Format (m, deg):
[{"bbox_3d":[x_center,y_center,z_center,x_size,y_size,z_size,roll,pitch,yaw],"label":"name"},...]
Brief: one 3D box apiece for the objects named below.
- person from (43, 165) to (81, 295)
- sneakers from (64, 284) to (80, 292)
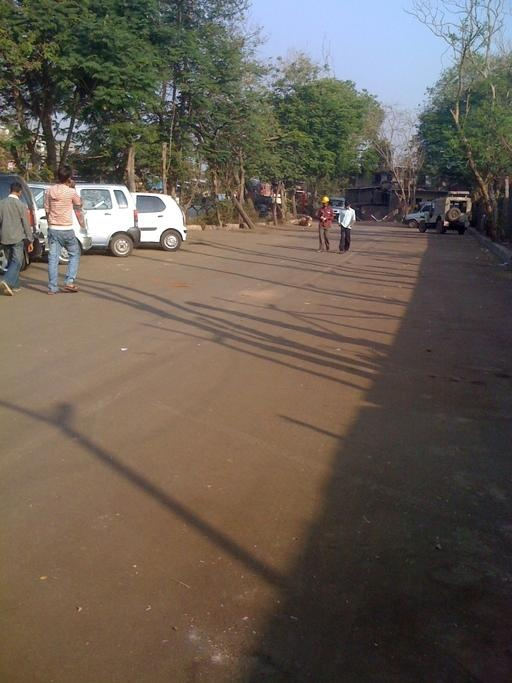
[{"bbox_3d":[-3.717,-2.094,10.396,0.716,2.378,0.801,2,8,2],"label":"person"},{"bbox_3d":[-3.717,-1.067,10.947,0.333,0.142,0.149,-10,59,-47],"label":"sneakers"}]
